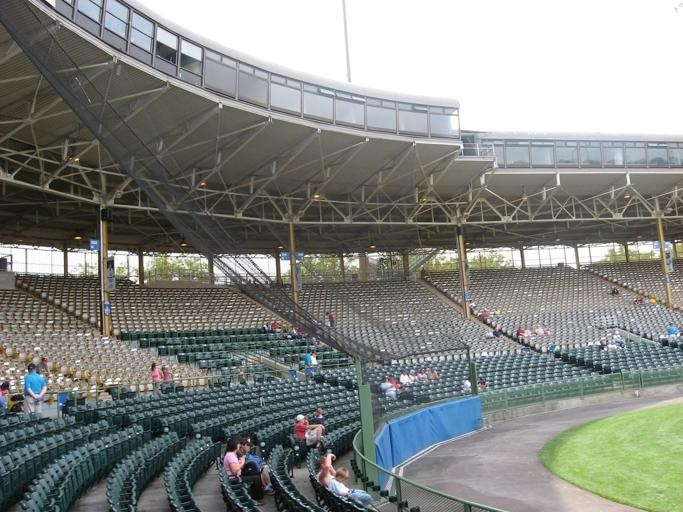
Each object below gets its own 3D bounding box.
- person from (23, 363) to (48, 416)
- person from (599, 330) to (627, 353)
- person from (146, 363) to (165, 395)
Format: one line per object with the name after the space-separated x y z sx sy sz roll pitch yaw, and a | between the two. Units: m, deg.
-9.232 3.983 17.868 0.589 1.538 1.292 -2 -8 -27 | person
16.131 5.086 35.473 1.444 0.454 1.730 -1 4 24 | person
-7.169 4.681 22.892 0.416 1.133 0.736 -4 -8 -18 | person
